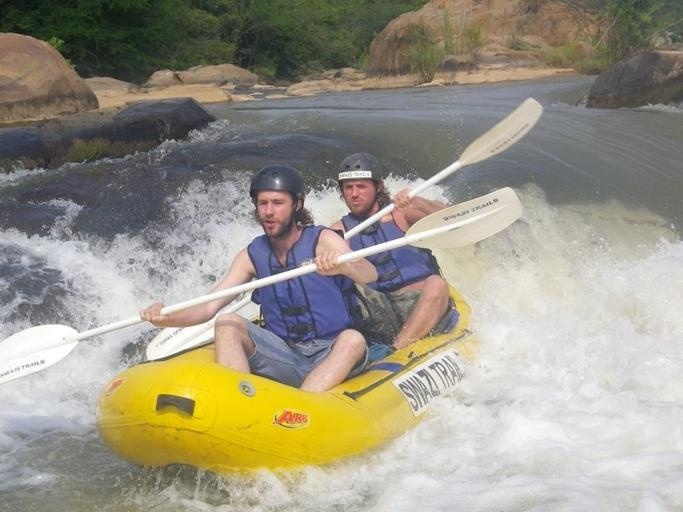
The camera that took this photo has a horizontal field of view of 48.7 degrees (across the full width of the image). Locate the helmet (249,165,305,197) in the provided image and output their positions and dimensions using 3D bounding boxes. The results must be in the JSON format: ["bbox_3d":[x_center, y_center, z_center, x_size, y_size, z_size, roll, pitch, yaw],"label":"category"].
[{"bbox_3d":[-0.549,-0.625,6.520,0.455,0.265,0.283,5,42,-4],"label":"helmet"}]
